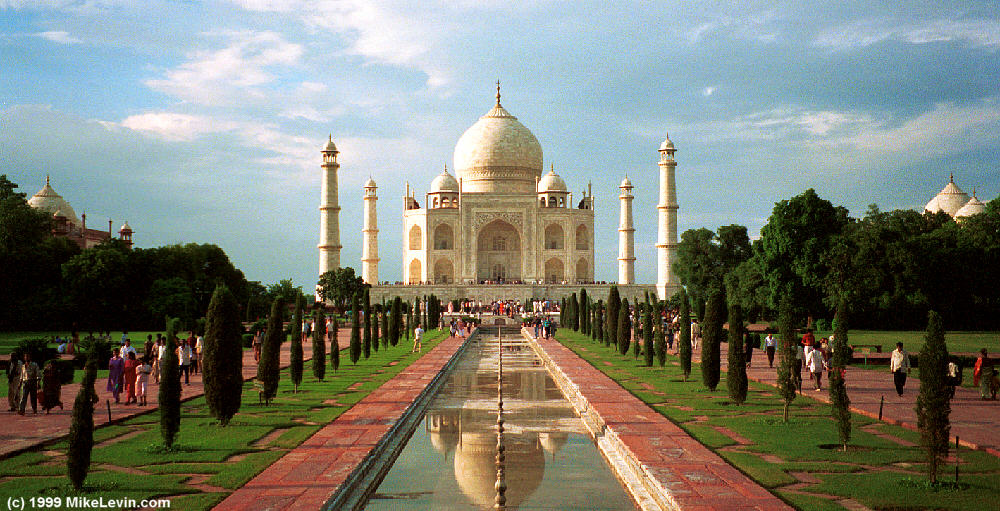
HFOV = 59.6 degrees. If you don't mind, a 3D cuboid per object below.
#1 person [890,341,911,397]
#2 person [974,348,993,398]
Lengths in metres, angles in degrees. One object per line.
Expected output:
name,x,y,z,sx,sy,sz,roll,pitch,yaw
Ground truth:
person,11.515,3.213,25.108,0.398,1.469,1.330,-5,-5,24
person,13.779,3.291,24.904,0.469,1.343,1.370,-5,-5,28
